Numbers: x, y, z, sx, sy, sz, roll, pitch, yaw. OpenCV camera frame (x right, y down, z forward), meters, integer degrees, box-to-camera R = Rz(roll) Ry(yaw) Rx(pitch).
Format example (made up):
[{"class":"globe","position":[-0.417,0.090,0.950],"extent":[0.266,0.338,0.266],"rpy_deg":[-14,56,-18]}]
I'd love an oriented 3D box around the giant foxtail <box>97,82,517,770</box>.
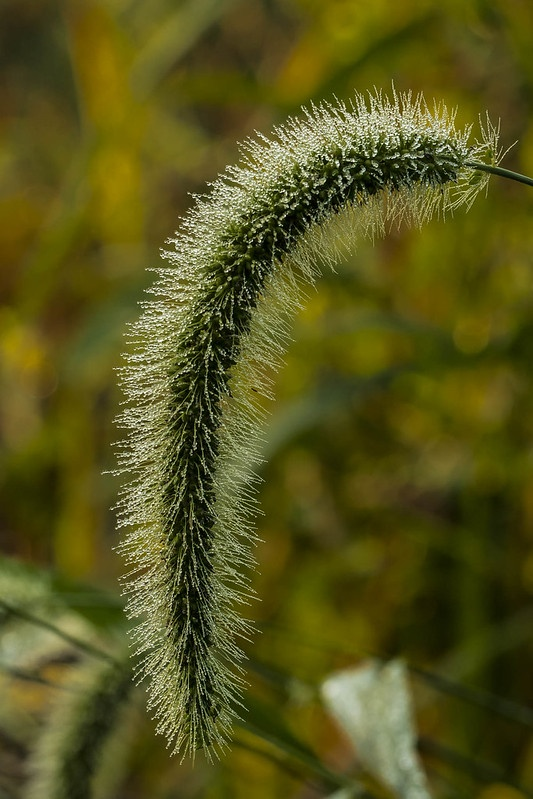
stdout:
[{"class":"giant foxtail","position":[0.046,0.034,0.989],"extent":[0.424,0.707,0.421],"rpy_deg":[-6,12,-10]}]
